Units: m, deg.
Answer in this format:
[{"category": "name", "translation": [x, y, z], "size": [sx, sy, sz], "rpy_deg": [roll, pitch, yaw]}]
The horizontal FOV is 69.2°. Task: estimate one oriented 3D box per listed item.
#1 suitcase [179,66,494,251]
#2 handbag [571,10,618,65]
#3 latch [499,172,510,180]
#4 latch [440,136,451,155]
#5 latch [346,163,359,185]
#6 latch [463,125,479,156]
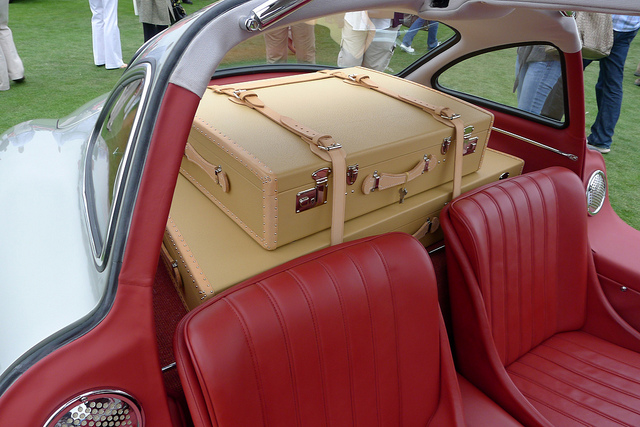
[{"category": "suitcase", "translation": [0.046, -0.365, 2.124], "size": [1.288, 0.420, 0.973], "rpy_deg": [-21, 38, -37]}, {"category": "handbag", "translation": [1.655, -1.068, 2.832], "size": [0.260, 0.402, 0.123], "rpy_deg": [9, 64, 32]}, {"category": "latch", "translation": [0.843, -0.177, 2.112], "size": [0.038, 0.044, 0.009], "rpy_deg": [0, 21, -27]}, {"category": "latch", "translation": [0.508, -0.280, 1.885], "size": [0.046, 0.068, 0.019], "rpy_deg": [-15, 25, -36]}, {"category": "latch", "translation": [0.113, -0.142, 1.663], "size": [0.043, 0.067, 0.022], "rpy_deg": [-6, 20, -38]}, {"category": "latch", "translation": [0.617, -0.317, 1.993], "size": [0.095, 0.072, 0.098], "rpy_deg": [-22, 40, -27]}]
